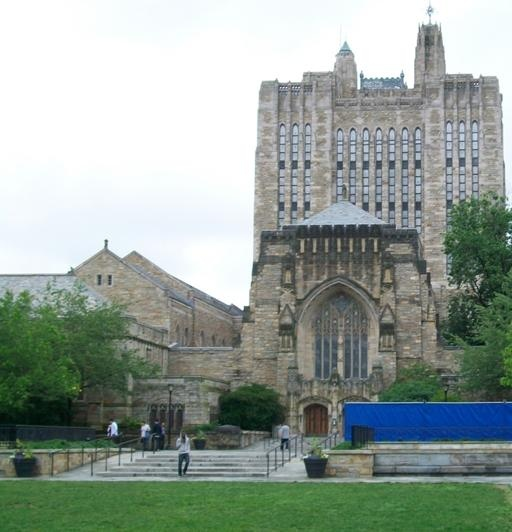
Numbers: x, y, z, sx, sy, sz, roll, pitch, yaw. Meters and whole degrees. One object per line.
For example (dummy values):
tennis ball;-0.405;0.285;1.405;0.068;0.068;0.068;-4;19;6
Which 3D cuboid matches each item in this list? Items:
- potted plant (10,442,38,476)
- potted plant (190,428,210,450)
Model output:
potted plant;-9.056;7.501;53.219;1.064;1.123;1.027;-5;-9;39
potted plant;-2.641;8.116;65.085;0.825;0.879;0.690;3;-21;-7
